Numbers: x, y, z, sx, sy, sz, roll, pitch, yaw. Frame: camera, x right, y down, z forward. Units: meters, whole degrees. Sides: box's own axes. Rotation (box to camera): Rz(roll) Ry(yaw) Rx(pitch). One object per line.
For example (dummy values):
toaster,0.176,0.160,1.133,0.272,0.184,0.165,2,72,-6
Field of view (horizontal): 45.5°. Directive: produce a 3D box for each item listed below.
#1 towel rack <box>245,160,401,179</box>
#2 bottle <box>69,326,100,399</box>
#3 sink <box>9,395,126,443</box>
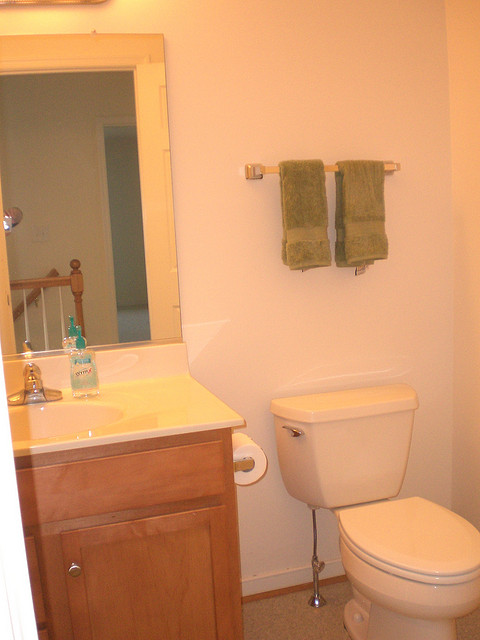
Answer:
towel rack,0.256,-0.457,1.713,0.498,0.064,0.082,-9,8,-16
bottle,-0.394,0.137,1.432,0.067,0.118,0.039,-10,9,-17
sink,-0.407,0.232,1.332,0.235,0.087,0.218,-10,8,-21
